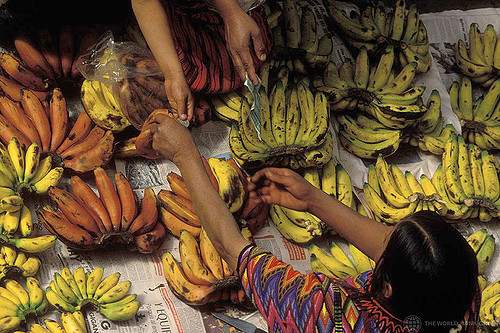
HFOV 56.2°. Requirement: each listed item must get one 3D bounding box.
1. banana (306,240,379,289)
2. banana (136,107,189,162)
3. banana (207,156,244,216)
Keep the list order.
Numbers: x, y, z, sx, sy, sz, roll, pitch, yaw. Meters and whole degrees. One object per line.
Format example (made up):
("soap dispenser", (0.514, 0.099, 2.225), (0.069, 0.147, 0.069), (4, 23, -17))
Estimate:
("banana", (0.519, 0.551, 2.674), (0.368, 0.130, 0.171), (-3, 46, -35))
("banana", (-0.519, -0.192, 2.528), (0.296, 0.245, 0.094), (-25, -6, 18))
("banana", (-0.135, 0.076, 2.608), (0.174, 0.124, 0.376), (-13, 56, -17))
